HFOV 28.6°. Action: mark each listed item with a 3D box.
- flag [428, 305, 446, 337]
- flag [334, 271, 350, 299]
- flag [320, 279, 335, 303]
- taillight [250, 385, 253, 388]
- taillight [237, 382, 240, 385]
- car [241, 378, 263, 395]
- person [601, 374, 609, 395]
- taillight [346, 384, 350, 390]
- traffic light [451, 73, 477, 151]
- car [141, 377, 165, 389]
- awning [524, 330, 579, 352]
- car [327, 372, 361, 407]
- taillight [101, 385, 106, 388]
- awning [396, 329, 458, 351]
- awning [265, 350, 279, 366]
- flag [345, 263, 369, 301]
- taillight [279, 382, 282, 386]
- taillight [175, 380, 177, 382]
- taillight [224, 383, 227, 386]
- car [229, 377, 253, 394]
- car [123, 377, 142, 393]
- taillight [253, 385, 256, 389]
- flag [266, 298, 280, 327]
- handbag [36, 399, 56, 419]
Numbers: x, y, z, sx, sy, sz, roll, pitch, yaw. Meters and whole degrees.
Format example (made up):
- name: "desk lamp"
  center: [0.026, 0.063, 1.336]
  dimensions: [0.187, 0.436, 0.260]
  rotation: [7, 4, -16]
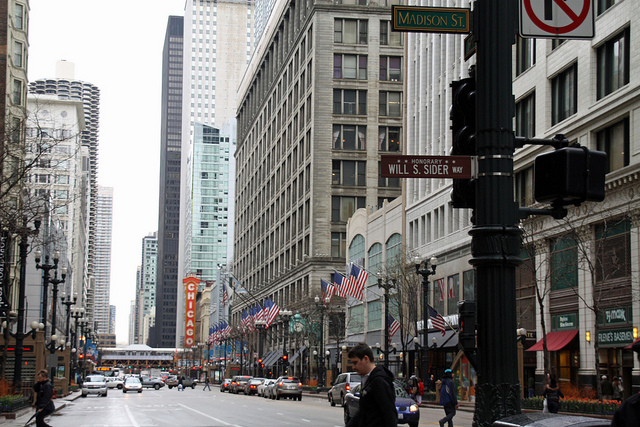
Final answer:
- name: "flag"
  center: [8.994, 8.178, 96.229]
  dimensions: [1.073, 2.210, 2.156]
  rotation: [-1, -14, 3]
- name: "flag"
  center: [2.008, 6.422, 112.586]
  dimensions: [0.222, 2.282, 3.171]
  rotation: [10, 7, -22]
- name: "flag"
  center: [0.725, 7.321, 117.715]
  dimensions: [0.222, 2.204, 2.923]
  rotation: [-4, 7, -24]
- name: "taillight"
  center: [-6.495, 16.563, 119.976]
  dimensions: [0.261, 0.259, 0.462]
  rotation: [-3, -5, -7]
- name: "taillight"
  center: [-8.162, 17.051, 125.762]
  dimensions: [0.307, 0.300, 0.315]
  rotation: [0, -4, 6]
- name: "car"
  center: [-6.477, 16.729, 121.097]
  dimensions: [1.676, 1.324, 3.966]
  rotation: [1, -5, -11]
- name: "person"
  center: [19.283, 11.613, 84.671]
  dimensions: [0.500, 1.251, 1.102]
  rotation: [-4, -14, 14]
- name: "taillight"
  center: [1.992, 12.253, 88.499]
  dimensions: [0.270, 0.511, 0.294]
  rotation: [0, -5, 7]
- name: "traffic light"
  center: [7.181, -4.992, 62.296]
  dimensions: [1.147, 3.742, 0.765]
  rotation: [-3, -13, 8]
- name: "car"
  center: [-20.718, 20.956, 154.925]
  dimensions: [2.720, 1.023, 1.334]
  rotation: [4, -8, 4]
- name: "awning"
  center: [17.584, 9.328, 91.180]
  dimensions: [1.061, 1.801, 2.958]
  rotation: [8, -16, -32]
- name: "car"
  center: [2.248, 12.831, 91.530]
  dimensions: [2.373, 2.307, 5.726]
  rotation: [3, -10, -11]
- name: "taillight"
  center: [-20.088, 16.095, 116.672]
  dimensions: [0.155, 0.295, 0.637]
  rotation: [-5, -15, 17]
- name: "awning"
  center: [9.180, 10.534, 104.413]
  dimensions: [1.408, 0.904, 3.705]
  rotation: [-30, 5, -37]
- name: "awning"
  center: [-5.806, 17.847, 153.970]
  dimensions: [1.827, 1.224, 8.779]
  rotation: [-7, -2, -2]
- name: "flag"
  center: [3.127, 5.735, 106.394]
  dimensions: [1.078, 3.124, 2.113]
  rotation: [6, -15, -25]
- name: "taillight"
  center: [-3.333, 14.666, 107.686]
  dimensions: [0.175, 0.313, 0.466]
  rotation: [5, -15, -24]
- name: "taillight"
  center: [-17.798, 20.727, 154.859]
  dimensions: [0.233, 0.410, 0.239]
  rotation: [0, -2, -3]
- name: "taillight"
  center: [-10.060, 18.342, 133.979]
  dimensions: [0.160, 0.168, 0.303]
  rotation: [-1, -7, 2]
- name: "car"
  center: [-8.014, 17.348, 126.696]
  dimensions: [1.366, 1.146, 3.035]
  rotation: [2, -4, -10]
- name: "car"
  center: [-19.869, 18.162, 133.153]
  dimensions: [1.203, 1.136, 2.662]
  rotation: [1, -19, -12]
- name: "taillight"
  center: [-6.222, 16.573, 119.909]
  dimensions: [0.260, 0.280, 0.145]
  rotation: [-9, -15, 31]
- name: "flag"
  center: [-5.055, 10.804, 135.770]
  dimensions: [0.579, 3.811, 4.069]
  rotation: [5, -8, -16]
- name: "handbag"
  center: [-15.764, 11.425, 73.137]
  dimensions: [0.815, 1.171, 1.418]
  rotation: [-6, -15, 22]
